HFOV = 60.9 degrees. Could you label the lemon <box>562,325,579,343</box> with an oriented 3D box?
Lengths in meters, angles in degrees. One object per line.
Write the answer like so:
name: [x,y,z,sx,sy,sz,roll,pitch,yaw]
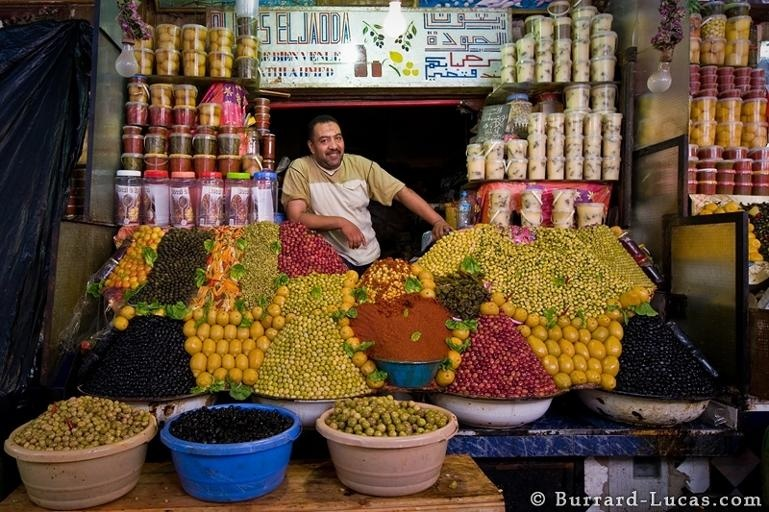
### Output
lemon: [1.369,0.570,4.777,0.110,0.110,0.060,-8,-23,-5]

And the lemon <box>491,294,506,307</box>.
lemon: [0.842,0.317,4.847,0.092,0.109,0.091,4,7,17]

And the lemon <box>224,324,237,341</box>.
lemon: [-1.095,0.544,4.644,0.079,0.103,0.076,-2,-12,-6]

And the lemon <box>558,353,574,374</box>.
lemon: [1.305,0.770,4.677,0.096,0.124,0.069,-5,-15,-4]

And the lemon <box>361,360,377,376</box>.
lemon: [-0.110,0.771,4.522,0.098,0.053,0.095,-21,44,-32]

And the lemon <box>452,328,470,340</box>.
lemon: [0.550,0.547,4.638,0.100,0.093,0.095,-2,3,2]

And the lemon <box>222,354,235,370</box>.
lemon: [-1.091,0.738,4.573,0.085,0.102,0.085,-1,4,10]

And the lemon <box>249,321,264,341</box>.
lemon: [-0.909,0.531,4.660,0.087,0.113,0.071,-2,-3,2]

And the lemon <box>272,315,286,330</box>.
lemon: [-0.751,0.469,4.699,0.088,0.087,0.085,-13,-27,6]

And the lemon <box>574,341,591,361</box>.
lemon: [1.442,0.679,4.741,0.093,0.124,0.069,-11,-19,-14]

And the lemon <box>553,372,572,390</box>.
lemon: [1.270,0.876,4.632,0.120,0.063,0.099,17,47,10]

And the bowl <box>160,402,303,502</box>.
bowl: [-0.967,1.244,4.172,0.863,0.488,0.405,-4,11,-15]

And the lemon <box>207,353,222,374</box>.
lemon: [-1.189,0.745,4.557,0.087,0.117,0.088,8,4,-2]

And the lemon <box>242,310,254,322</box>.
lemon: [-0.972,0.433,4.682,0.074,0.071,0.050,-2,11,-6]

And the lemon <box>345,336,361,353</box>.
lemon: [-0.219,0.614,4.547,0.088,0.088,0.092,33,34,6]

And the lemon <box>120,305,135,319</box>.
lemon: [-1.839,0.403,4.728,0.092,0.090,0.108,-21,7,-41]

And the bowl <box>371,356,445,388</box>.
bowl: [0.180,0.807,4.503,0.446,0.228,0.129,-1,11,1]

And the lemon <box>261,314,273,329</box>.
lemon: [-0.841,0.469,4.684,0.085,0.102,0.086,4,23,-5]

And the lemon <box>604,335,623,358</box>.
lemon: [1.668,0.654,4.745,0.111,0.133,0.073,-13,-12,-15]

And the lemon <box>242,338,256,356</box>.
lemon: [-0.962,0.638,4.630,0.081,0.100,0.056,7,-6,1]

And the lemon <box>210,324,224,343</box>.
lemon: [-1.188,0.543,4.605,0.087,0.109,0.061,6,-14,-9]

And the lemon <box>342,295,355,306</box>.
lemon: [-0.255,0.323,4.755,0.066,0.065,0.078,-31,-30,27]

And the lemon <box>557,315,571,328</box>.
lemon: [1.327,0.483,4.808,0.079,0.078,0.078,-24,29,-36]

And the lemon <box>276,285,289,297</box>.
lemon: [-0.743,0.257,4.768,0.070,0.071,0.067,24,-27,8]

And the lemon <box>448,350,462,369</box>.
lemon: [0.492,0.715,4.552,0.104,0.107,0.109,29,3,22]

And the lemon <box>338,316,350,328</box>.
lemon: [-0.280,0.464,4.603,0.063,0.060,0.064,10,34,-7]

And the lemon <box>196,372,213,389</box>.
lemon: [-1.243,0.854,4.557,0.100,0.095,0.099,19,45,41]

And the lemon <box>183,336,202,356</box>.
lemon: [-1.336,0.624,4.587,0.118,0.122,0.057,2,11,15]

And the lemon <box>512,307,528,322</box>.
lemon: [1.004,0.428,4.788,0.094,0.116,0.095,5,19,10]

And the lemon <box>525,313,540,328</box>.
lemon: [1.087,0.470,4.793,0.092,0.087,0.094,12,2,9]

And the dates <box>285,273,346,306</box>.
dates: [-0.497,0.234,4.770,0.430,0.187,0.196,-2,11,-8]

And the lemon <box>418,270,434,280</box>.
lemon: [0.307,0.145,4.799,0.106,0.056,0.097,-2,11,-6]

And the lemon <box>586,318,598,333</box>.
lemon: [1.540,0.507,4.801,0.076,0.090,0.050,1,-21,3]

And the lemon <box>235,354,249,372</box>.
lemon: [-1.000,0.746,4.590,0.076,0.100,0.074,-6,-17,-32]

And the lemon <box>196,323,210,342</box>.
lemon: [-1.274,0.534,4.603,0.087,0.118,0.064,6,-10,-5]

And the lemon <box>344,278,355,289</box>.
lemon: [-0.259,0.205,4.839,0.063,0.062,0.064,10,32,-16]

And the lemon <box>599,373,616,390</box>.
lemon: [1.595,0.893,4.667,0.105,0.109,0.112,11,48,26]

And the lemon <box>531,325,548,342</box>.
lemon: [1.139,0.556,4.784,0.101,0.055,0.102,-21,62,-28]

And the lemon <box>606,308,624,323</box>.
lemon: [1.718,0.443,4.843,0.119,0.089,0.066,8,-2,-23]

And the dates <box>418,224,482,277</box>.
dates: [0.505,-0.077,4.987,0.315,0.135,0.424,-8,36,54]

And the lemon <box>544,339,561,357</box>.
lemon: [1.223,0.666,4.728,0.084,0.112,0.062,-26,-12,-8]

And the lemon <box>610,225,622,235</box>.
lemon: [1.934,-0.213,5.404,0.095,0.052,0.094,10,18,18]

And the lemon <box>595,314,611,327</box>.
lemon: [1.623,0.474,4.834,0.084,0.084,0.083,18,55,22]

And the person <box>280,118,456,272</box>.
person: [-0.252,-0.532,5.787,1.287,1.379,0.833,-3,11,-10]

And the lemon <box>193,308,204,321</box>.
lemon: [-1.316,0.414,4.644,0.071,0.068,0.070,8,3,-7]
